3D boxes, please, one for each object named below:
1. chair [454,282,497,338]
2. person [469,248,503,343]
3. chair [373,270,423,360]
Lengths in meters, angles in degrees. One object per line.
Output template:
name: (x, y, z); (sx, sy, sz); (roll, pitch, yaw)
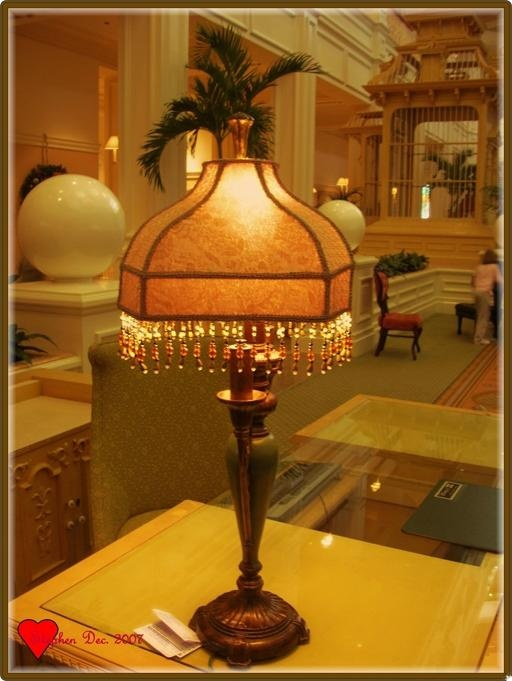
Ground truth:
chair: (3.171, -0.409, 7.834); (0.708, 0.860, 0.638); (2, 2, 16)
person: (3.143, -0.607, 7.438); (0.337, 1.291, 0.613); (2, 3, 22)
chair: (1.758, -0.321, 6.679); (0.550, 1.040, 1.482); (2, 2, 17)
